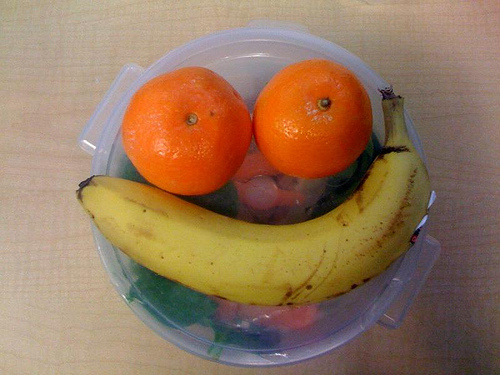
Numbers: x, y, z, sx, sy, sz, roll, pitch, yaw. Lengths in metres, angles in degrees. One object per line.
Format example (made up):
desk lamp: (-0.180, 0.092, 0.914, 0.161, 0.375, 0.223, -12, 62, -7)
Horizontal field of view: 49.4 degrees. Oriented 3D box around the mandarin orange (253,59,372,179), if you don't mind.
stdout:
mandarin orange: (0.123, -0.132, 1.107, 0.236, 0.170, 0.218, -13, 74, 1)
